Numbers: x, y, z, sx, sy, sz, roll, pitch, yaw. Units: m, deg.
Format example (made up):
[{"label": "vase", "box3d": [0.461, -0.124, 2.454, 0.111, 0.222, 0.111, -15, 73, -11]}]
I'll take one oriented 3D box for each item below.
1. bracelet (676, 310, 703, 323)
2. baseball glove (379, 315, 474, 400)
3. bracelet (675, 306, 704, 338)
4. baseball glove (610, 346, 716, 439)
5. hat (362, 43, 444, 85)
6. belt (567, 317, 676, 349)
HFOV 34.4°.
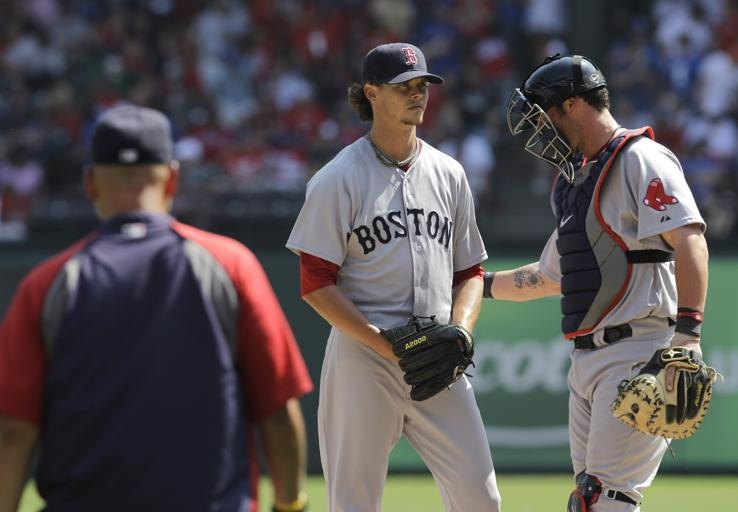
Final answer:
[{"label": "bracelet", "box3d": [2.068, 0.385, 7.667, 0.106, 0.046, 0.089, 1, -6, 37]}, {"label": "baseball glove", "box3d": [0.364, 0.597, 8.131, 0.547, 0.227, 0.675, -13, 6, -26]}, {"label": "bracelet", "box3d": [2.056, 0.423, 7.642, 0.185, 0.183, 0.181, 2, -1, 30]}, {"label": "baseball glove", "box3d": [1.951, 0.922, 7.813, 0.693, 0.535, 0.319, -7, 27, -15]}, {"label": "hat", "box3d": [0.197, -1.337, 8.173, 0.425, 0.218, 0.309, -2, 3, 38]}, {"label": "belt", "box3d": [1.700, 0.514, 7.993, 0.383, 0.099, 0.301, -14, -8, 1]}]
